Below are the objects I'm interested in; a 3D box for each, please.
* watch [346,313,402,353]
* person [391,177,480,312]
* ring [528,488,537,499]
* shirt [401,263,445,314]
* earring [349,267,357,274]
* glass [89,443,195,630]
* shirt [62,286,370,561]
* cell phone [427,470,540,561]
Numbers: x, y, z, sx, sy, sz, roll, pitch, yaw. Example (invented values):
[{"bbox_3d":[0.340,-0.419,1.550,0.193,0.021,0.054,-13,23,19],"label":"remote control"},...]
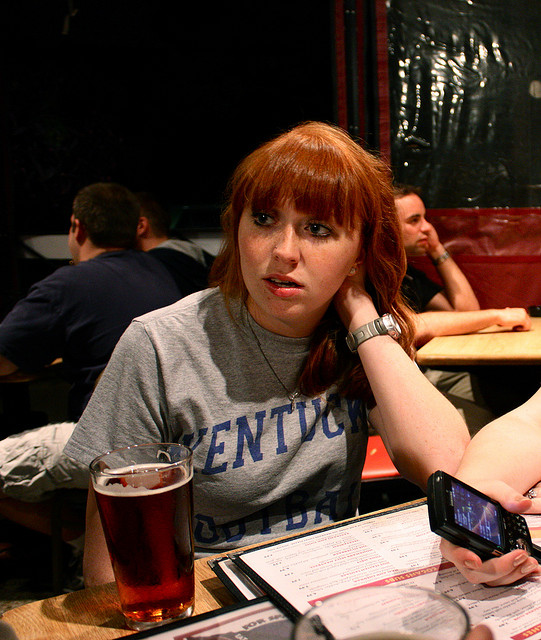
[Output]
[{"bbox_3d":[0.198,0.019,1.139,0.111,0.055,0.099,-19,-24,11],"label":"watch"},{"bbox_3d":[0.887,-0.324,2.869,0.290,0.671,0.563,-20,21,-36],"label":"person"},{"bbox_3d":[0.407,0.270,0.925,0.018,0.003,0.019,-40,9,8],"label":"ring"},{"bbox_3d":[0.670,-0.146,2.748,0.177,0.232,0.257,0,9,34],"label":"shirt"},{"bbox_3d":[0.162,-0.101,1.188,0.022,0.017,0.005,4,5,-2],"label":"earring"},{"bbox_3d":[-0.139,0.252,0.700,0.116,0.188,0.115,-8,9,-16],"label":"glass"},{"bbox_3d":[-0.031,0.187,1.209,0.736,0.482,0.361,-4,12,-37],"label":"shirt"},{"bbox_3d":[0.269,0.253,0.759,0.102,0.040,0.093,22,-37,-16],"label":"cell phone"}]
